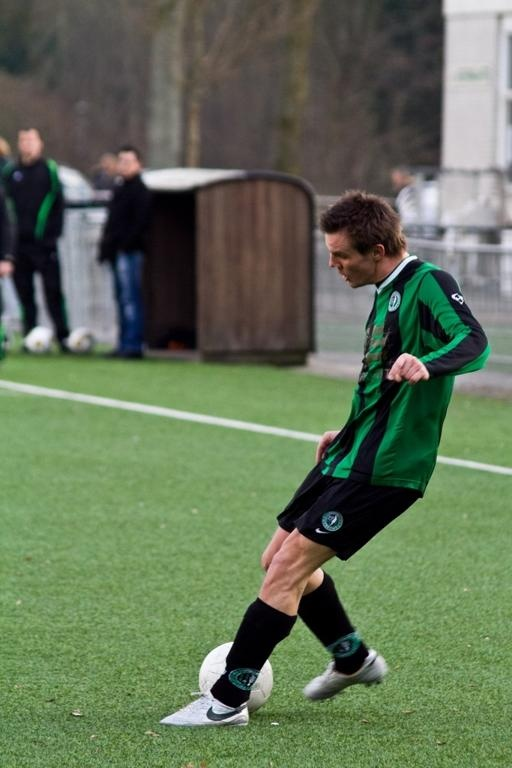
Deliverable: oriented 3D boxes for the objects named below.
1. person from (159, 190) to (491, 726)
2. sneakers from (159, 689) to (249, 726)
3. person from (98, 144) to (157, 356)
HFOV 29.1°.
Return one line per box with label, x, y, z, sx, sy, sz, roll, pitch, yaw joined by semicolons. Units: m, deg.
person;0.183;0.183;2.281;0.672;1.248;0.397;0;11;10
sneakers;-0.118;0.781;2.366;0.230;0.074;0.073;2;-13;-1
person;-1.183;-1.161;8.938;0.503;1.845;0.674;-4;11;-6
